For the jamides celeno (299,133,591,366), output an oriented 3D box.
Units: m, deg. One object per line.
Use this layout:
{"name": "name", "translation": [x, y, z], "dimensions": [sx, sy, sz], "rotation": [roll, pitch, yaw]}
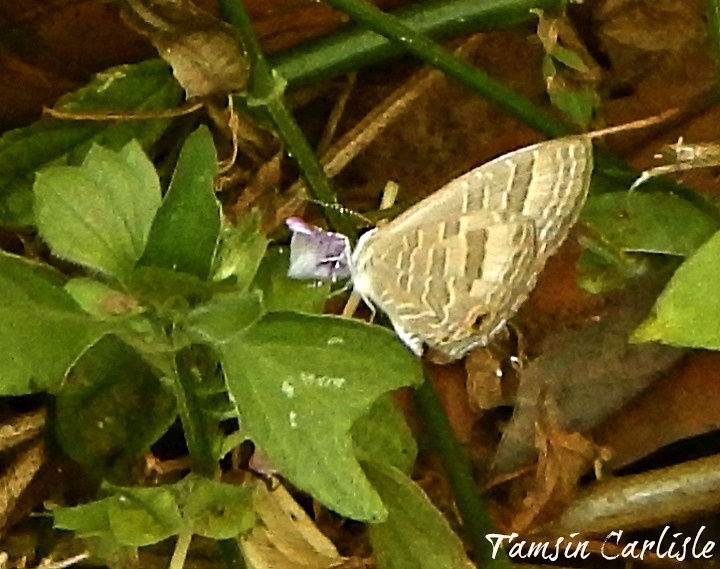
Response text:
{"name": "jamides celeno", "translation": [0.058, -0.034, 0.654], "dimensions": [0.228, 0.142, 0.092], "rotation": [1, 26, 30]}
